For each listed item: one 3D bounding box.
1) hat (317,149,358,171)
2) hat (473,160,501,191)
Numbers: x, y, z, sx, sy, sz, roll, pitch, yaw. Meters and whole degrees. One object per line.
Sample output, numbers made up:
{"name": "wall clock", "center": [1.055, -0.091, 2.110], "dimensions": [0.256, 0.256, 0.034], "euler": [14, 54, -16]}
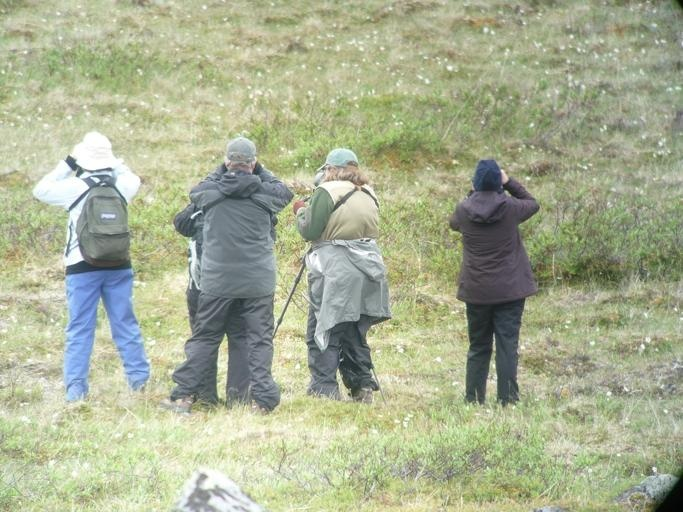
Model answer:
{"name": "hat", "center": [-0.066, -2.048, 32.298], "dimensions": [0.627, 0.336, 0.486], "euler": [1, 8, 9]}
{"name": "hat", "center": [3.033, -1.625, 31.815], "dimensions": [0.457, 0.723, 0.481], "euler": [1, -40, 3]}
